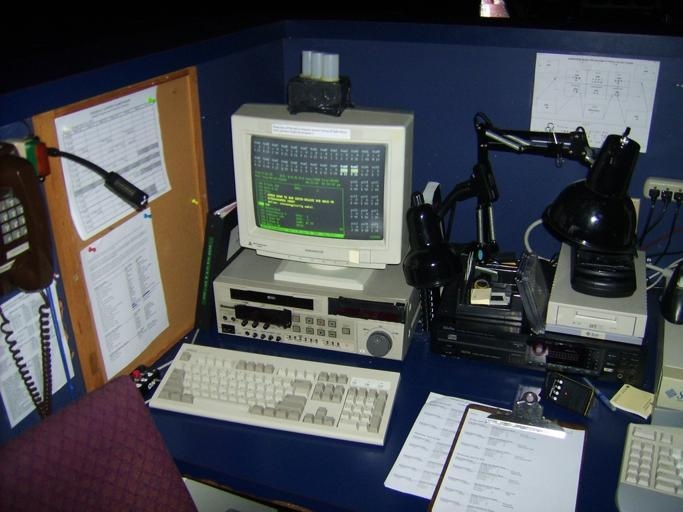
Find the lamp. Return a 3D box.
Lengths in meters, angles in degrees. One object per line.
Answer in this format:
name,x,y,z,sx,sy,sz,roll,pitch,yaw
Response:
lamp,0.485,-0.125,1.602,0.571,0.484,0.384,8,21,8

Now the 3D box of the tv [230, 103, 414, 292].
tv,-0.052,-0.182,1.676,0.430,0.462,0.264,8,35,12

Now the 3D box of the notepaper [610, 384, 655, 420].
notepaper,0.822,0.404,1.569,0.104,0.054,0.098,18,30,29
